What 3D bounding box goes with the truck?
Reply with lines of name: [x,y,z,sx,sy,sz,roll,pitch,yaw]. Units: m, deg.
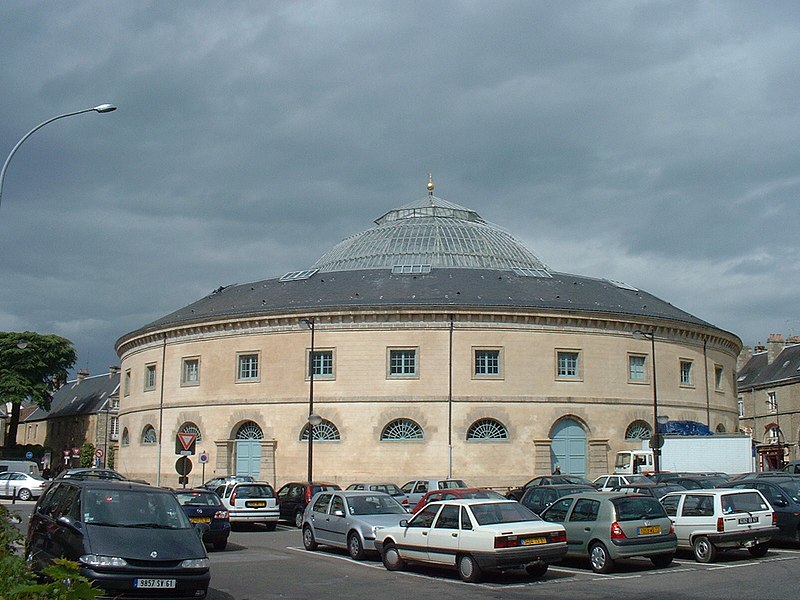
truck: [15.420,8.282,43.708,6.323,2.084,1.997,-7,-15,26]
